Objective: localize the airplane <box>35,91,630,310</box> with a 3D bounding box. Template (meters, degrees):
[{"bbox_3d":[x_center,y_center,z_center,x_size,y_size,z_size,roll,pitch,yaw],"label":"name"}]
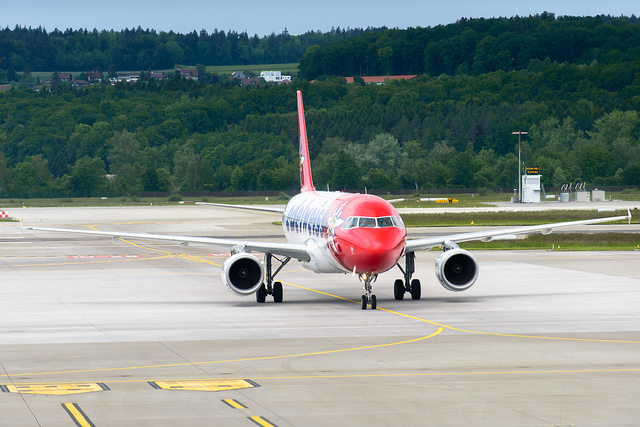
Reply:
[{"bbox_3d":[0.552,2.189,74.188,16.156,7.612,13.336,11,17,42],"label":"airplane"}]
